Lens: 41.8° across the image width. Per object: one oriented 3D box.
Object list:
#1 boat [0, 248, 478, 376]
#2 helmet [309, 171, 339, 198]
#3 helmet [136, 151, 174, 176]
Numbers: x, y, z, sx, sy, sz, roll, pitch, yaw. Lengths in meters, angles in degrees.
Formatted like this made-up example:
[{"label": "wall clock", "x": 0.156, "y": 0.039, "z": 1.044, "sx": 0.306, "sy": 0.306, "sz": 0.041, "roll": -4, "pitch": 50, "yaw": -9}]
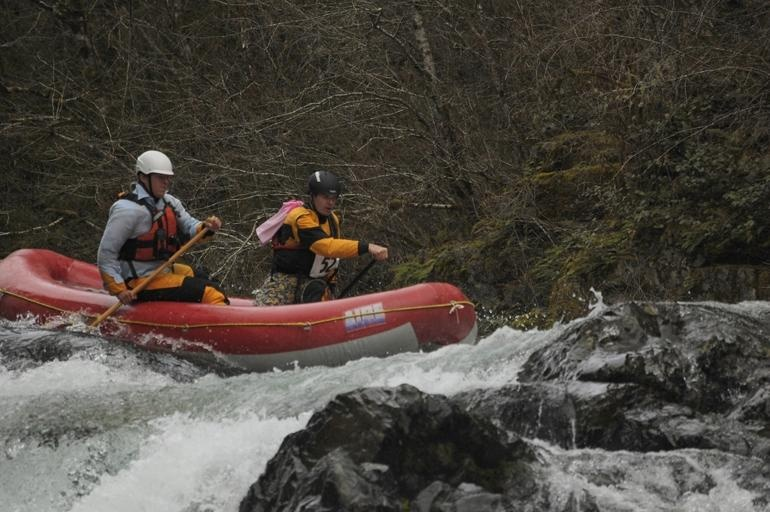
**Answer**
[{"label": "boat", "x": -2.411, "y": 0.989, "z": 15.007, "sx": 5.341, "sy": 1.354, "sz": 2.759, "roll": 4, "pitch": 1, "yaw": 15}, {"label": "helmet", "x": -0.907, "y": -1.082, "z": 14.934, "sx": 0.320, "sy": 0.388, "sz": 0.421, "roll": -12, "pitch": 24, "yaw": -42}, {"label": "helmet", "x": -3.428, "y": -1.357, "z": 14.899, "sx": 0.464, "sy": 0.271, "sz": 0.367, "roll": 5, "pitch": 8, "yaw": 13}]
